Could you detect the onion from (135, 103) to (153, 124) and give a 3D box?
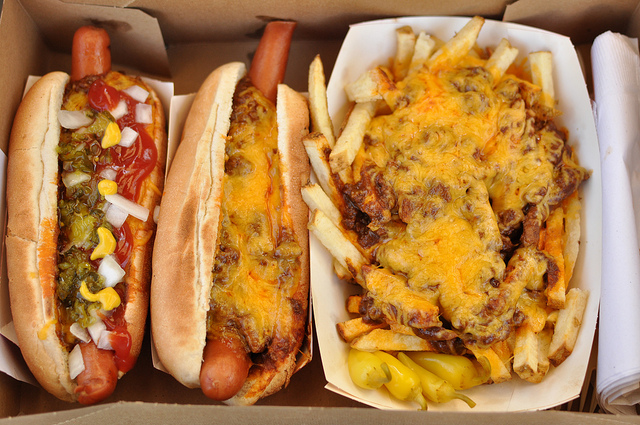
[{"bbox_3d":[-1.201,-0.663,4.147,0.107,0.125,0.109,-6,33,-9],"label":"onion"}]

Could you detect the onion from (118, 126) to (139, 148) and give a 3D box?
[{"bbox_3d":[-1.266,-0.496,4.023,0.124,0.117,0.033,26,-10,3],"label":"onion"}]

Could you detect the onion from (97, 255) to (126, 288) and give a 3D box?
[{"bbox_3d":[-1.314,0.369,3.889,0.183,0.182,0.085,37,11,5],"label":"onion"}]

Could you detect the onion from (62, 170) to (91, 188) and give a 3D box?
[{"bbox_3d":[-1.565,-0.217,3.909,0.176,0.103,0.069,5,33,7],"label":"onion"}]

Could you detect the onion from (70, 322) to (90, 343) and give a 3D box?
[{"bbox_3d":[-1.501,0.756,3.825,0.074,0.141,0.034,-41,5,-32],"label":"onion"}]

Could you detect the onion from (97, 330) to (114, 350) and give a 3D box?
[{"bbox_3d":[-1.337,0.792,3.788,0.101,0.098,0.032,5,-10,-3],"label":"onion"}]

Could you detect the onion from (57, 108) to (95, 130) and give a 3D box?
[{"bbox_3d":[-1.591,-0.605,3.983,0.200,0.100,0.125,-18,37,-26],"label":"onion"}]

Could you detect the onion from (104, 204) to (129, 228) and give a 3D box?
[{"bbox_3d":[-1.313,0.026,3.916,0.125,0.133,0.074,5,33,8],"label":"onion"}]
